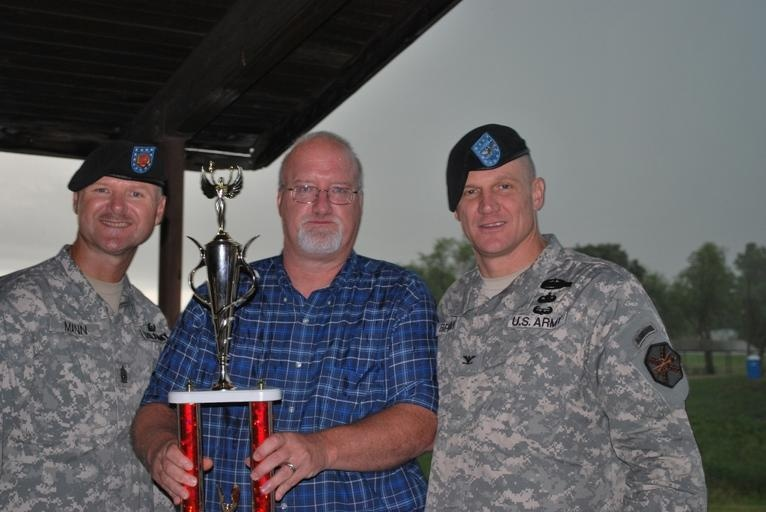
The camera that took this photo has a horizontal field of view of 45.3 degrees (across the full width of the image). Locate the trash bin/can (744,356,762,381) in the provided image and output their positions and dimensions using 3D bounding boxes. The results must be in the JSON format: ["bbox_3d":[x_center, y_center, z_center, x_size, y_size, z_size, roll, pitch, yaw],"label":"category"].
[{"bbox_3d":[5.428,1.622,13.384,0.208,0.410,1.059,-4,-5,21],"label":"trash bin/can"}]

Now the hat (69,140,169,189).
[{"bbox_3d":[-1.854,-0.645,6.465,0.526,0.378,0.548,-1,0,-18],"label":"hat"}]

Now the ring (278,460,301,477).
[{"bbox_3d":[-0.563,1.269,5.509,0.078,0.092,0.034,-41,-5,12],"label":"ring"}]

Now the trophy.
[{"bbox_3d":[-0.985,0.503,5.813,0.687,2.162,0.537,-2,-5,-2],"label":"trophy"}]

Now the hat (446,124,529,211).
[{"bbox_3d":[0.635,-0.638,5.987,0.569,0.291,0.439,-34,4,-39],"label":"hat"}]
